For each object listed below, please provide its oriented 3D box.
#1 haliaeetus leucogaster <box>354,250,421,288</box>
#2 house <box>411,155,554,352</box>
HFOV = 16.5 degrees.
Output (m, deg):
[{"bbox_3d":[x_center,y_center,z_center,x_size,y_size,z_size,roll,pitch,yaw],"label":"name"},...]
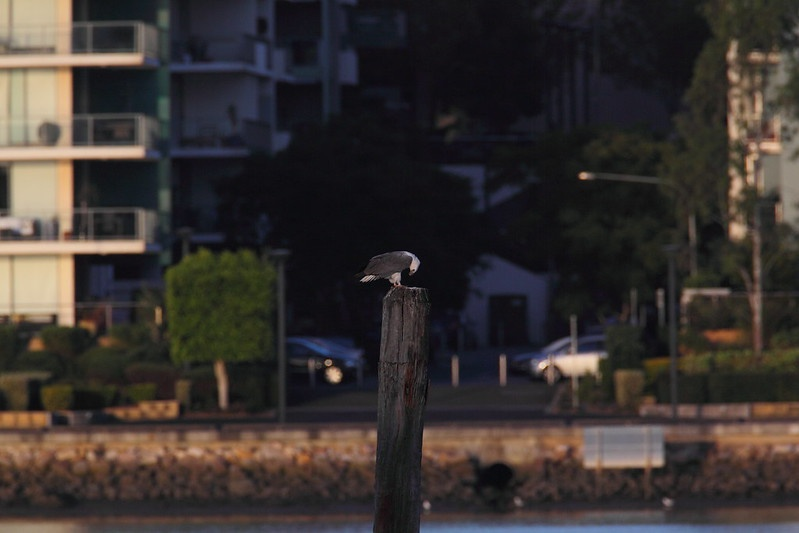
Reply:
[{"bbox_3d":[-0.118,0.057,85.372,2.073,1.030,0.875,6,1,-9],"label":"haliaeetus leucogaster"},{"bbox_3d":[2.750,-1.464,103.197,6.216,9.443,10.705,0,1,4],"label":"house"}]
